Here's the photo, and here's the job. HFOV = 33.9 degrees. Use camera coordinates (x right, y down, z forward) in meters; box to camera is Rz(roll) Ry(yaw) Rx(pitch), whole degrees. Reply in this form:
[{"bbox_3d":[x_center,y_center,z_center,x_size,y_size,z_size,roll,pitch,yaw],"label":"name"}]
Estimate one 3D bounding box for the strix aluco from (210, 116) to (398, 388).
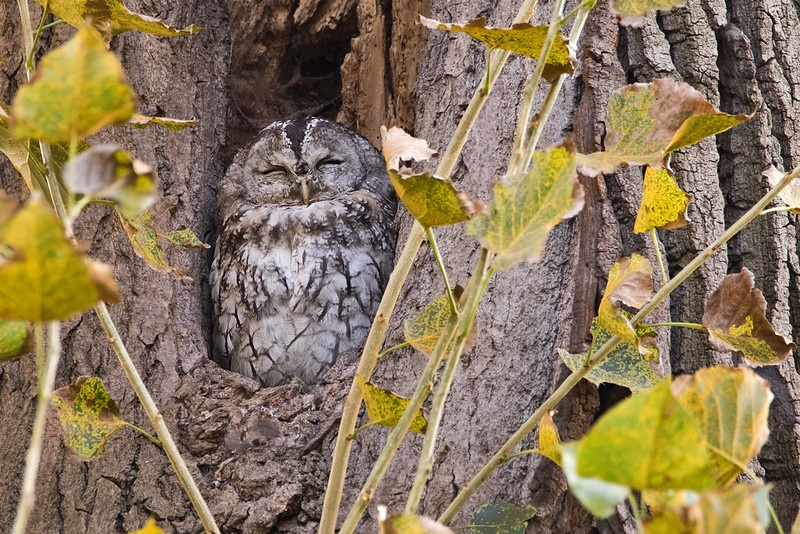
[{"bbox_3d":[-0.244,-0.016,3.338,0.443,0.746,0.422,3,-24,0],"label":"strix aluco"}]
